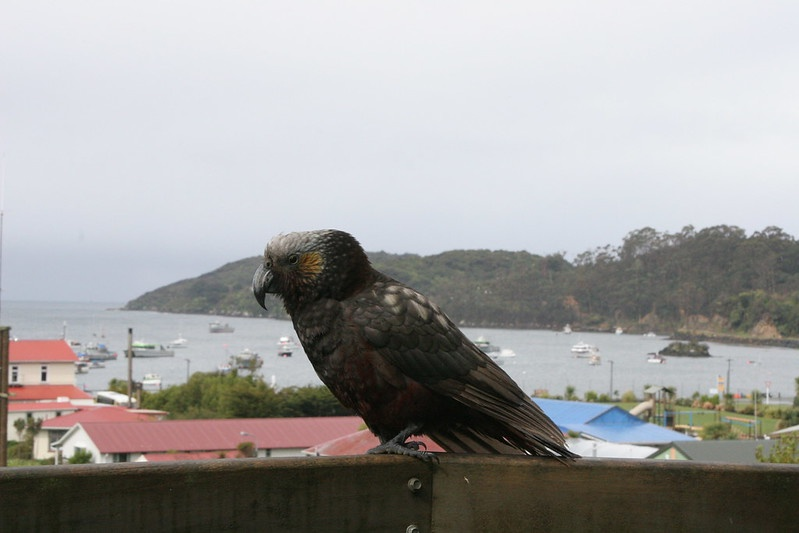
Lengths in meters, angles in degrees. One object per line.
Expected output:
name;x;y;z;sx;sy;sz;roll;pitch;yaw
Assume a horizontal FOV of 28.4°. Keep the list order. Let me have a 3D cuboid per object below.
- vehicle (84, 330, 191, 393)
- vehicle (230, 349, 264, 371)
vehicle;-20.719;7.594;130.366;6.235;5.431;20.814;-1;1;-8
vehicle;-13.187;8.166;135.381;1.624;1.328;1.619;0;-8;28
